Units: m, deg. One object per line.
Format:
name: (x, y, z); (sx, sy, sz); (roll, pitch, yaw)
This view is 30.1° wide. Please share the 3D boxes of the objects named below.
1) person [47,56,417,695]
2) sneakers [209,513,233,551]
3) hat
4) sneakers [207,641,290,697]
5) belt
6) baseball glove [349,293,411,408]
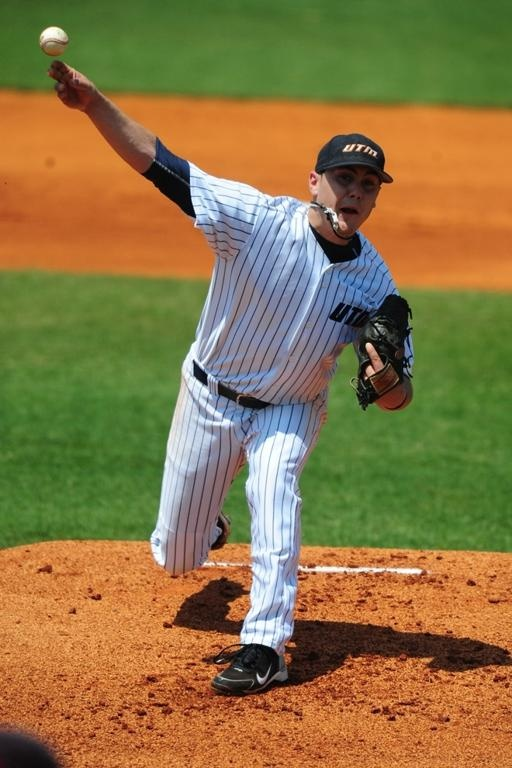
person: (-0.040, 0.011, 3.170); (0.854, 1.868, 0.668); (4, 9, 17)
sneakers: (-0.132, 0.604, 3.841); (0.056, 0.143, 0.109); (18, 13, -24)
hat: (0.305, -0.763, 3.172); (0.171, 0.105, 0.214); (3, 1, -30)
sneakers: (-0.017, 0.907, 3.063); (0.122, 0.107, 0.238); (3, 1, 44)
belt: (-0.087, 0.024, 3.257); (0.203, 0.059, 0.161); (24, -3, -12)
baseball glove: (0.456, -0.094, 3.199); (0.225, 0.368, 0.213); (9, -18, 26)
